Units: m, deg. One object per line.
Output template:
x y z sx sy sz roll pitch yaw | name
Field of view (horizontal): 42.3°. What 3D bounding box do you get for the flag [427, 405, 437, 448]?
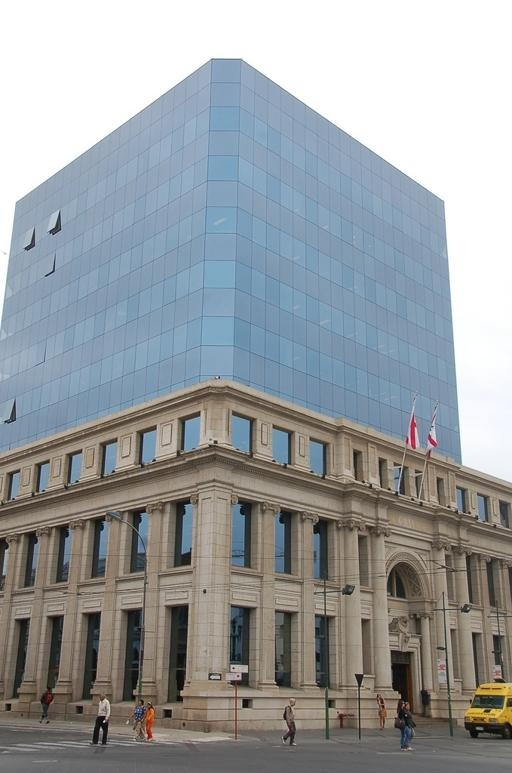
14.378 3.292 54.188 0.567 3.732 0.736 -15 -66 20 | flag
